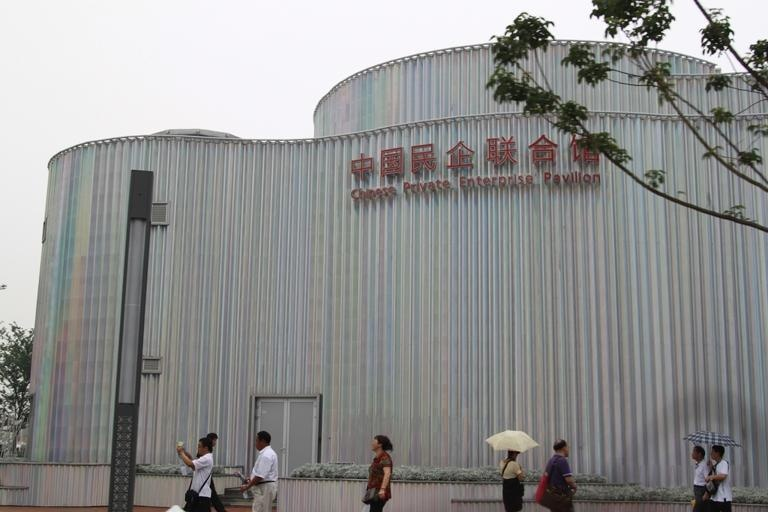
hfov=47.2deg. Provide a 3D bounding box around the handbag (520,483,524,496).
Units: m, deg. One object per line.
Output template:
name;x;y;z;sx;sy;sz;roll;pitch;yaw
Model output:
handbag;2.848;4.838;18.064;0.074;0.317;0.219;3;5;12

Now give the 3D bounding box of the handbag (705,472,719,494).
handbag;6.629;4.591;17.765;0.230;0.429;0.314;15;-24;-30

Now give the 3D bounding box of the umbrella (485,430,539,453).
umbrella;2.738;3.936;18.730;0.791;0.439;0.842;7;-16;-36

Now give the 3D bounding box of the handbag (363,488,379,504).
handbag;-0.265;4.528;16.635;0.149;0.279;0.344;6;-15;-33

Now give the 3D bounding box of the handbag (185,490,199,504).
handbag;-3.491;4.439;16.249;0.231;0.253;0.247;-2;-20;10
